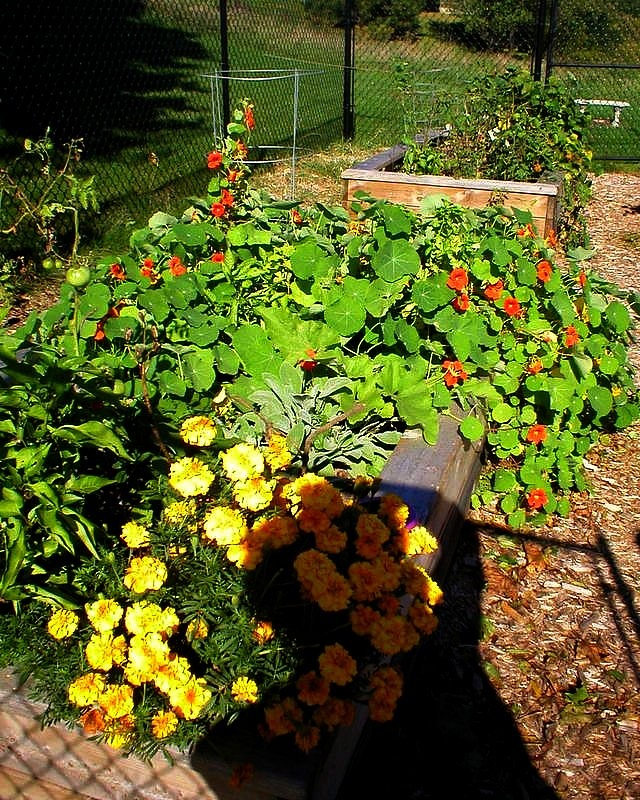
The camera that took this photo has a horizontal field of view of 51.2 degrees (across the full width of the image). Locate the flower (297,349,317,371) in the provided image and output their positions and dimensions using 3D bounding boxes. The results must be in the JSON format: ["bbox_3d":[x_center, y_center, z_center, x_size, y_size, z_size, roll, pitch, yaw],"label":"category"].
[{"bbox_3d":[-0.036,-0.130,2.175,0.057,0.065,0.019,9,-7,18],"label":"flower"}]

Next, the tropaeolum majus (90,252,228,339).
[{"bbox_3d":[-0.538,-0.326,2.187,0.379,0.085,0.333,1,59,-20],"label":"tropaeolum majus"}]

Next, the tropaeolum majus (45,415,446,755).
[{"bbox_3d":[-0.198,0.455,1.345,0.647,0.264,0.682,32,48,21],"label":"tropaeolum majus"}]

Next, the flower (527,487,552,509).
[{"bbox_3d":[0.799,0.358,2.435,0.080,0.076,0.058,5,25,5],"label":"flower"}]

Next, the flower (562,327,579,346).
[{"bbox_3d":[0.930,-0.239,2.462,0.035,0.065,0.070,-11,-18,9],"label":"flower"}]
